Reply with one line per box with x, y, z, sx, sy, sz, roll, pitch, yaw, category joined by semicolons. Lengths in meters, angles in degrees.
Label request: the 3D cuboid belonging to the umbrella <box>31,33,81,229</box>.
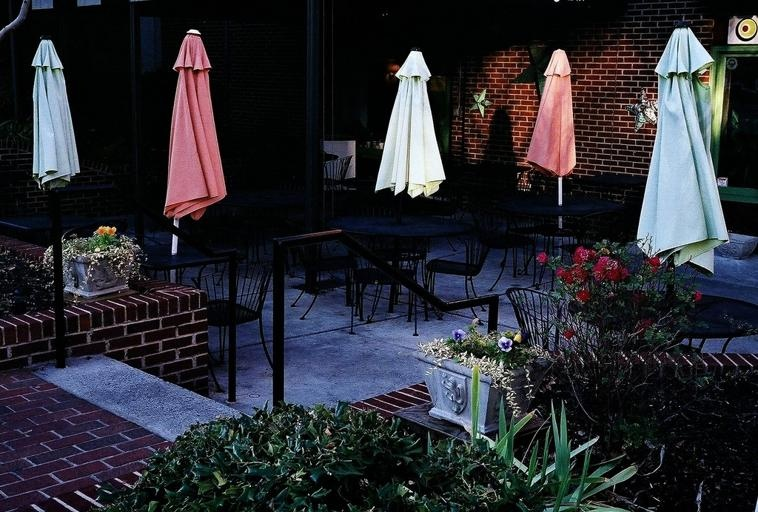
-2.935;-1.259;5.477;0.373;1.290;0.368;-10;17;-27;umbrella

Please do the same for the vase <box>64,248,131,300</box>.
-2.512;0.174;5.490;0.361;0.269;0.442;-4;10;-41;vase

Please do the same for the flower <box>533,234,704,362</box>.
1.665;0.329;4.496;1.008;0.669;0.943;1;1;-36;flower

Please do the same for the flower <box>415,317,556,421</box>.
0.614;0.750;3.705;0.765;0.490;0.594;5;2;45;flower

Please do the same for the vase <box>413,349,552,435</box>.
0.630;0.703;3.633;0.474;0.361;0.616;-7;15;-37;vase

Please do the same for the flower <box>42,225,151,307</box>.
-2.630;0.011;5.782;0.773;0.549;0.755;-8;17;-36;flower
